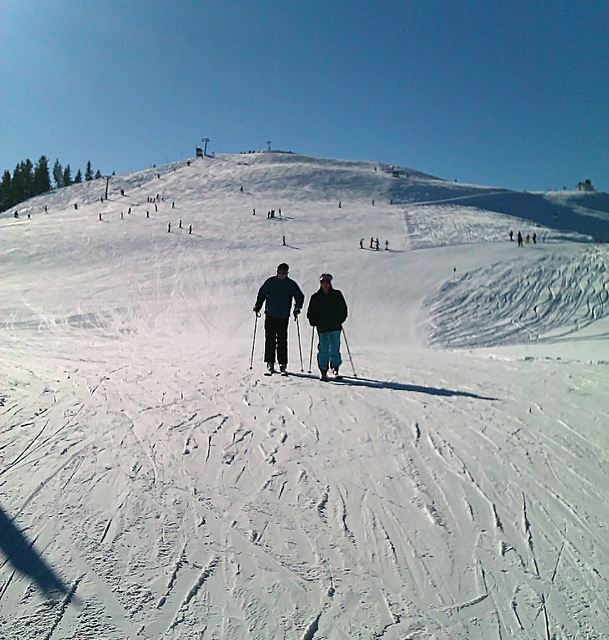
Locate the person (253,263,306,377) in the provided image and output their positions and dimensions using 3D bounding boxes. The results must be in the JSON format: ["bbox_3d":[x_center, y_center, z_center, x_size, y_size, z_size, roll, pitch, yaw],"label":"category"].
[{"bbox_3d":[-0.447,-0.006,9.820,0.828,1.950,0.812,1,10,-4],"label":"person"}]

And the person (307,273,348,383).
[{"bbox_3d":[0.368,0.137,9.432,0.631,1.792,0.783,2,10,3],"label":"person"}]

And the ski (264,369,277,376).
[{"bbox_3d":[-0.588,0.901,9.428,0.140,0.053,0.421,3,13,3],"label":"ski"}]

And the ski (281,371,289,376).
[{"bbox_3d":[-0.332,0.911,9.441,0.037,0.089,0.112,4,-15,-40],"label":"ski"}]
